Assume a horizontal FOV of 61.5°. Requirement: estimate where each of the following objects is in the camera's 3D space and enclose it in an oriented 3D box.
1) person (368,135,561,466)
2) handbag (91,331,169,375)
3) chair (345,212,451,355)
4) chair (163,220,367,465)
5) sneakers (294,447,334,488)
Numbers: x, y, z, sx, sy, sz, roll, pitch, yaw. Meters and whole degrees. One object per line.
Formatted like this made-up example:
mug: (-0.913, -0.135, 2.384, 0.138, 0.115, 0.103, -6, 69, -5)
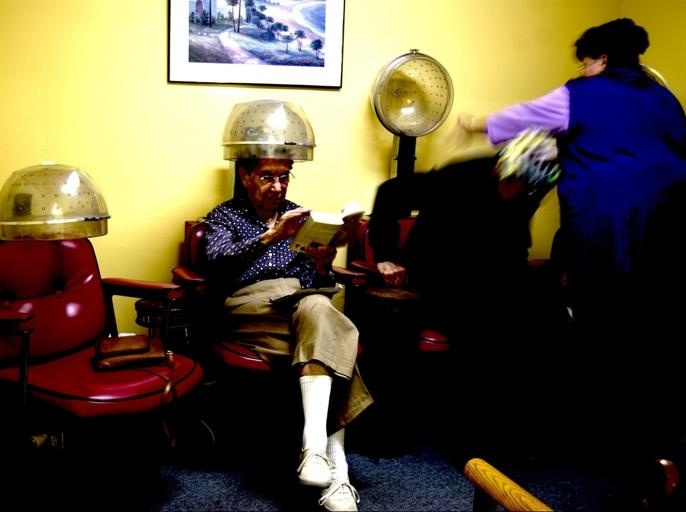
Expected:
person: (0.591, 0.093, 2.617, 0.749, 1.300, 0.779, 28, -17, -39)
handbag: (-0.840, 0.379, 2.305, 0.322, 0.065, 0.304, 4, 15, 7)
chair: (0.076, 0.131, 2.712, 0.617, 0.619, 0.555, -1, -2, -5)
chair: (-0.456, 0.283, 2.633, 0.900, 0.716, 0.747, 5, -4, -22)
sneakers: (-0.116, 0.804, 2.177, 0.125, 0.085, 0.237, 6, -5, -11)
